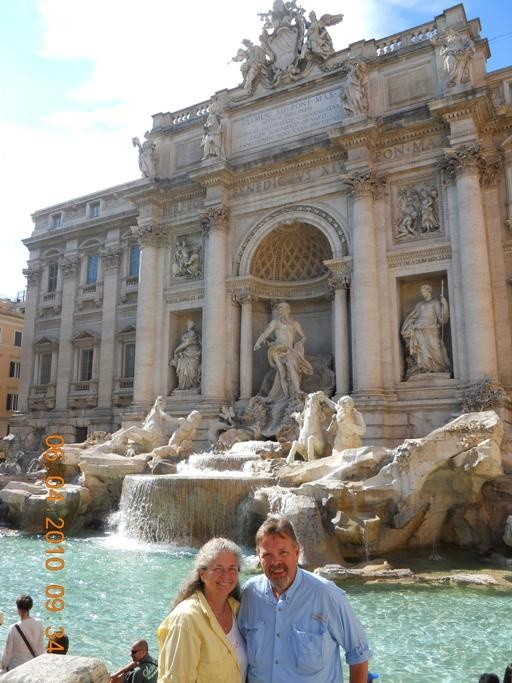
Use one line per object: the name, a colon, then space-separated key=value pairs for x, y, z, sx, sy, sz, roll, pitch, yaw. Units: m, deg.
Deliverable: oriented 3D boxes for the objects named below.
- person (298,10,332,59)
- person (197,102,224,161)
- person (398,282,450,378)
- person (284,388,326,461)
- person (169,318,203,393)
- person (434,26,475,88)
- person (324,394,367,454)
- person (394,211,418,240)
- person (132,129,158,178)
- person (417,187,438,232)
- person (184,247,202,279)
person: x=2.195 y=-10.715 z=20.932 sx=0.978 sy=1.744 sz=0.451 roll=-1 pitch=-9 yaw=5
person: x=-1.633 y=-7.880 z=22.326 sx=0.960 sy=2.457 sz=0.562 roll=-9 pitch=-12 yaw=40
person: x=5.066 y=-0.291 z=17.681 sx=1.391 sy=2.751 sz=0.631 roll=-4 pitch=-10 yaw=18
person: x=1.318 y=2.110 z=14.858 sx=1.019 sy=1.758 sz=1.489 roll=-2 pitch=-10 yaw=11
person: x=-2.594 y=0.548 z=22.298 sx=1.350 sy=2.682 sz=0.626 roll=-5 pitch=-11 yaw=27
person: x=5.989 y=-8.424 z=17.611 sx=0.904 sy=2.219 sz=0.732 roll=-4 pitch=-10 yaw=19
person: x=2.016 y=1.881 z=13.421 sx=0.839 sy=1.268 sz=0.780 roll=-3 pitch=-10 yaw=17
person: x=4.870 y=-3.628 z=18.587 sx=0.841 sy=0.989 sz=0.743 roll=-3 pitch=4 yaw=-41
person: x=-4.482 y=-7.516 z=24.200 sx=0.972 sy=2.594 sz=1.425 roll=2 pitch=-10 yaw=-13
person: x=5.315 y=-4.046 z=18.209 sx=0.631 sy=1.498 sz=0.256 roll=-5 pitch=-10 yaw=25
person: x=-2.431 y=-3.060 z=22.965 sx=0.790 sy=1.260 sz=0.233 roll=-6 pitch=-11 yaw=30
